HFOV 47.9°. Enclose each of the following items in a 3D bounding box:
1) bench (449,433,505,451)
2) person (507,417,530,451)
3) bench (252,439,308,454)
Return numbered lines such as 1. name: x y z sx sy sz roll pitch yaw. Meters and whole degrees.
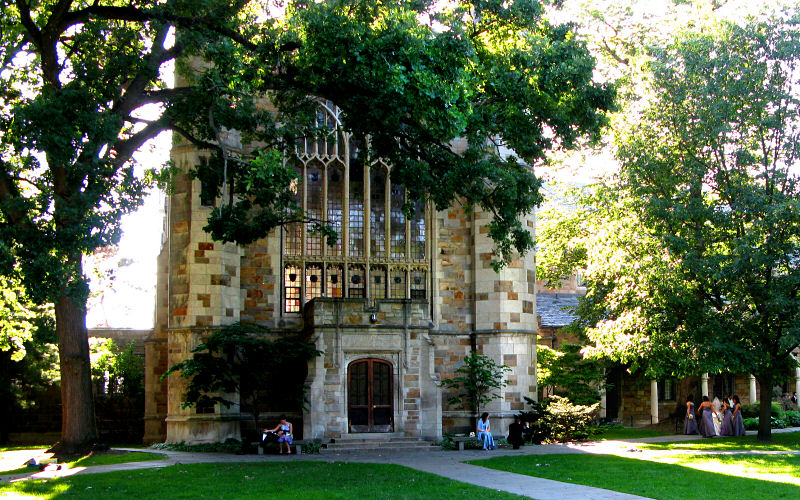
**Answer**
1. bench: 2.622 6.816 31.741 2.116 0.520 1.324 4 -16 -16
2. person: 4.118 6.489 31.855 0.670 1.145 0.617 2 7 38
3. bench: -4.041 6.552 29.631 1.718 0.464 1.212 2 -15 -11
